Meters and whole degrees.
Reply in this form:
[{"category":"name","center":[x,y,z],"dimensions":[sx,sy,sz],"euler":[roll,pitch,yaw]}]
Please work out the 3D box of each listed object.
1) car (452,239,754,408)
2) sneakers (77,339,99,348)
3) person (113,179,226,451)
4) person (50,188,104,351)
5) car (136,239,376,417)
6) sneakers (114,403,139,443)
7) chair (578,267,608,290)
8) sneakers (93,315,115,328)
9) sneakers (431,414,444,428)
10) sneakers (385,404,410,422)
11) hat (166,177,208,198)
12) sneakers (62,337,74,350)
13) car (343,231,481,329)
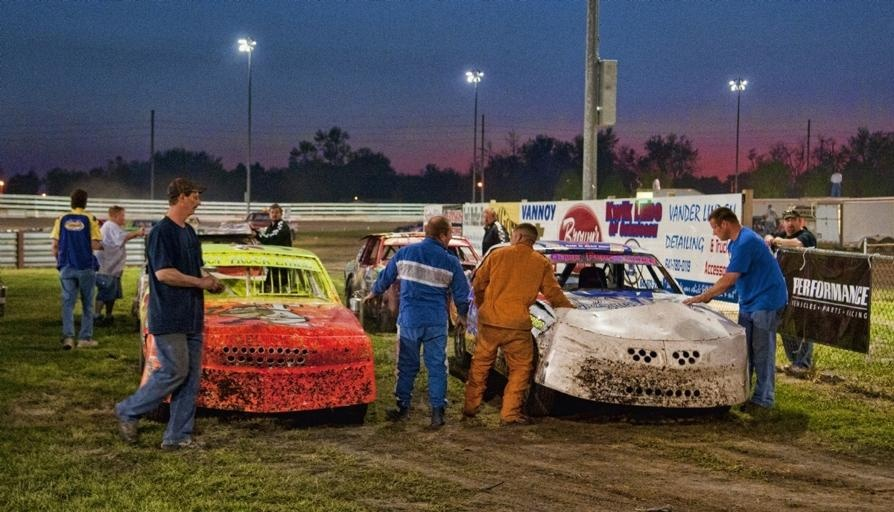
[{"category":"car","center":[2.349,1.032,14.024],"dimensions":[4.245,2.408,2.480],"euler":[0,4,8]},{"category":"sneakers","center":[-6.148,1.475,15.754],"dimensions":[0.326,0.147,0.120],"euler":[1,16,-35]},{"category":"person","center":[-3.630,0.747,12.204],"dimensions":[1.150,3.530,0.569],"euler":[-1,4,-16]},{"category":"person","center":[-6.226,0.212,15.595],"dimensions":[0.694,2.646,0.431],"euler":[-2,4,-24]},{"category":"car","center":[-2.382,1.083,13.068],"dimensions":[1.910,1.503,3.992],"euler":[2,5,-16]},{"category":"sneakers","center":[-4.270,2.235,12.297],"dimensions":[0.280,0.539,0.184],"euler":[0,6,3]},{"category":"chair","center":[2.327,0.344,14.763],"dimensions":[0.328,0.411,0.465],"euler":[2,10,-3]},{"category":"sneakers","center":[-6.644,1.251,17.853],"dimensions":[0.216,0.177,0.520],"euler":[0,-1,-16]},{"category":"sneakers","center":[-0.118,2.313,13.186],"dimensions":[0.221,0.225,0.232],"euler":[-1,4,-5]},{"category":"sneakers","center":[-0.711,2.254,13.350],"dimensions":[0.306,0.198,0.158],"euler":[-1,4,-7]},{"category":"hat","center":[-3.506,-0.897,12.333],"dimensions":[0.372,0.221,0.269],"euler":[-21,15,-13]},{"category":"sneakers","center":[-6.379,1.447,15.537],"dimensions":[0.161,0.188,0.242],"euler":[-2,4,-21]},{"category":"car","center":[-1.058,0.471,18.640],"dimensions":[1.632,1.354,2.661],"euler":[0,-1,-21]}]
